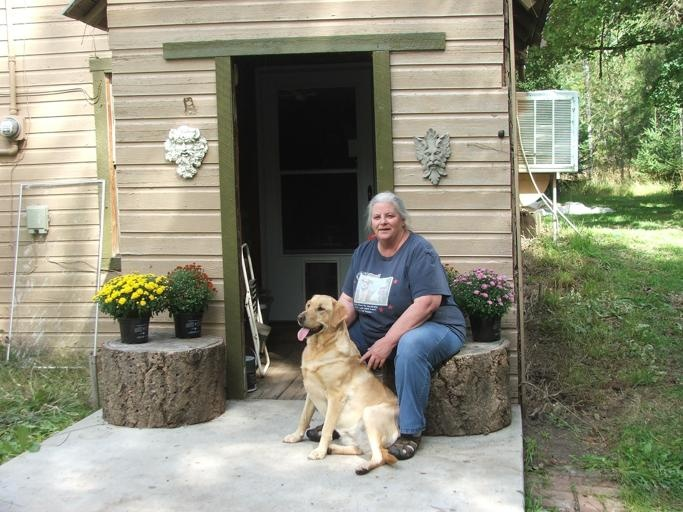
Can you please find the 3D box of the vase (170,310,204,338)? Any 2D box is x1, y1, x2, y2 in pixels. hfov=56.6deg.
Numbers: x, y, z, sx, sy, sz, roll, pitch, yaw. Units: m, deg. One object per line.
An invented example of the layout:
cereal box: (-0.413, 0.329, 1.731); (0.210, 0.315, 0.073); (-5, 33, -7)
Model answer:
vase: (-1.379, 0.600, 5.616); (0.240, 0.176, 0.244); (0, -4, 9)

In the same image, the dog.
dog: (-0.002, 0.941, 4.806); (0.931, 1.205, 0.801); (2, -5, 2)

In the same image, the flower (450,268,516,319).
flower: (1.204, 0.323, 5.400); (0.446, 0.302, 0.451); (1, 21, 4)

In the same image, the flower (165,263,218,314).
flower: (-1.320, 0.293, 5.730); (0.455, 0.478, 0.418); (0, -10, 3)

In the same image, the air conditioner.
air conditioner: (3.452, -2.206, 11.738); (1.625, 1.535, 0.924); (-7, 8, -28)

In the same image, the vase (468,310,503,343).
vase: (1.227, 0.607, 5.423); (0.271, 0.191, 0.249); (1, -2, 14)

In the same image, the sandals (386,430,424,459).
sandals: (0.484, 1.411, 4.707); (0.339, 0.158, 0.107); (-7, 11, -39)

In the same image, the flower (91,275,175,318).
flower: (-1.762, 0.337, 5.554); (0.461, 0.264, 0.454); (1, 6, 0)

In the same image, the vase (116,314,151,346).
vase: (-1.770, 0.625, 5.410); (0.258, 0.185, 0.251); (0, 0, 27)
